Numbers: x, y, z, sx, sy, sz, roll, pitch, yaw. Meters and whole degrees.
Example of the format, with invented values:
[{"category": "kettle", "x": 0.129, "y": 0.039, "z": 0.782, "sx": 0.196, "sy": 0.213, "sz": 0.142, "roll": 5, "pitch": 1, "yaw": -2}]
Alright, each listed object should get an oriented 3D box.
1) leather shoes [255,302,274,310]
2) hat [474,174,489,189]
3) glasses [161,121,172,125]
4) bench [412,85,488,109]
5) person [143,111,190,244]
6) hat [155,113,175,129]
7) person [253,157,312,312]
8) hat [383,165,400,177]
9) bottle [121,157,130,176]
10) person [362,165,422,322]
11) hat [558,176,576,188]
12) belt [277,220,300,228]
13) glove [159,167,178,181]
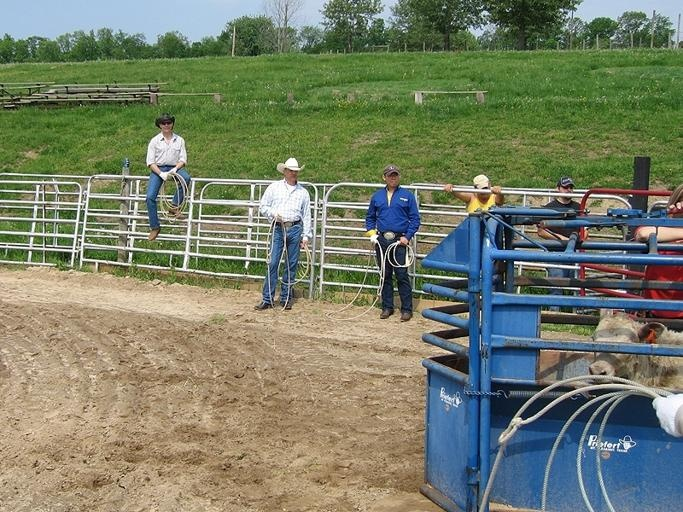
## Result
[{"category": "leather shoes", "x": -1.377, "y": 0.909, "z": 19.404, "sx": 0.320, "sy": 0.150, "sz": 0.136, "roll": 6, "pitch": -2, "yaw": -34}, {"category": "hat", "x": 2.306, "y": -1.220, "z": 18.082, "sx": 0.216, "sy": 0.158, "sz": 0.290, "roll": -6, "pitch": 13, "yaw": -8}, {"category": "glasses", "x": -3.333, "y": -2.545, "z": 20.804, "sx": 0.246, "sy": 0.101, "sz": 0.108, "roll": -6, "pitch": 12, "yaw": -42}, {"category": "bench", "x": 3.695, "y": -5.383, "z": 36.926, "sx": 2.403, "sy": 0.518, "sz": 3.766, "roll": 3, "pitch": 10, "yaw": 6}, {"category": "person", "x": -3.369, "y": -1.520, "z": 21.107, "sx": 0.851, "sy": 2.448, "sz": 0.709, "roll": 0, "pitch": 9, "yaw": -12}, {"category": "hat", "x": -3.423, "y": -2.607, "z": 20.969, "sx": 0.403, "sy": 0.180, "sz": 0.461, "roll": 1, "pitch": -32, "yaw": -13}, {"category": "person", "x": -1.038, "y": -0.401, "z": 19.455, "sx": 0.963, "sy": 2.672, "sz": 0.589, "roll": 0, "pitch": 9, "yaw": -12}, {"category": "hat", "x": 0.864, "y": -1.469, "z": 18.894, "sx": 0.237, "sy": 0.211, "sz": 0.319, "roll": 2, "pitch": 9, "yaw": -2}, {"category": "bottle", "x": -4.325, "y": -1.762, "z": 21.707, "sx": 0.100, "sy": 0.342, "sz": 0.459, "roll": -1, "pitch": 10, "yaw": -16}, {"category": "person", "x": 0.868, "y": -0.229, "z": 19.002, "sx": 0.881, "sy": 2.691, "sz": 0.397, "roll": 6, "pitch": 10, "yaw": 25}, {"category": "hat", "x": 3.930, "y": -1.272, "z": 19.062, "sx": 0.292, "sy": 0.229, "sz": 0.411, "roll": 3, "pitch": -1, "yaw": -5}, {"category": "belt", "x": -0.953, "y": -0.562, "z": 19.297, "sx": 0.454, "sy": 0.099, "sz": 0.096, "roll": -1, "pitch": 9, "yaw": -17}, {"category": "glove", "x": -3.336, "y": -1.565, "z": 20.817, "sx": 0.238, "sy": 0.122, "sz": 0.321, "roll": -3, "pitch": -2, "yaw": -25}]
